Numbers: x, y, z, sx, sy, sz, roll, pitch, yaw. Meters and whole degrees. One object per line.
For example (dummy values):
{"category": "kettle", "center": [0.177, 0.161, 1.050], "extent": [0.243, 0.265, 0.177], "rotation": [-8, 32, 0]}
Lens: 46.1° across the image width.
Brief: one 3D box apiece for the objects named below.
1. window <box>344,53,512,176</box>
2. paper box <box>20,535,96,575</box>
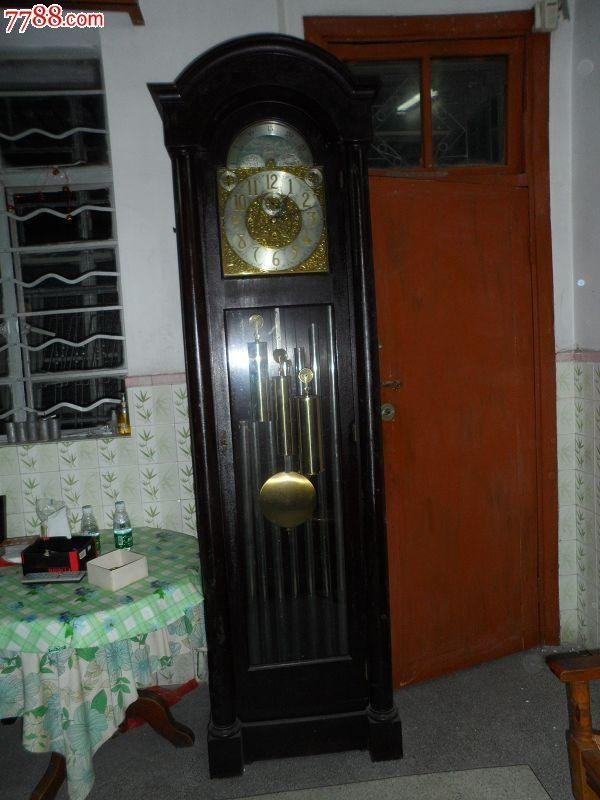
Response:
{"category": "window", "center": [0.479, -1.101, 2.687], "extent": [0.610, 0.468, 0.026], "rotation": [6, 47, 18]}
{"category": "paper box", "center": [-0.737, 0.450, 2.147], "extent": [0.133, 0.061, 0.144], "rotation": [0, -1, 0]}
